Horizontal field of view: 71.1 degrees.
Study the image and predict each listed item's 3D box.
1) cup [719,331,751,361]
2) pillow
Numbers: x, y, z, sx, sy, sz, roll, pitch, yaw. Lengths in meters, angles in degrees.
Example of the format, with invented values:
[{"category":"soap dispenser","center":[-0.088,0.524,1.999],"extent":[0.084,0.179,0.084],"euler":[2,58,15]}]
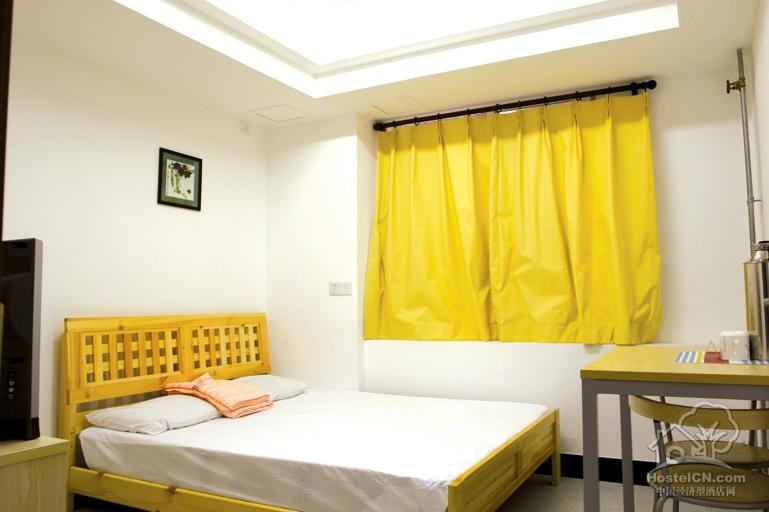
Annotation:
[{"category":"cup","center":[1.750,0.458,2.706],"extent":[0.155,0.132,0.115],"euler":[0,-2,21]},{"category":"pillow","center":[-1.441,1.170,4.294],"extent":[0.564,0.192,1.471],"euler":[4,3,44]}]
